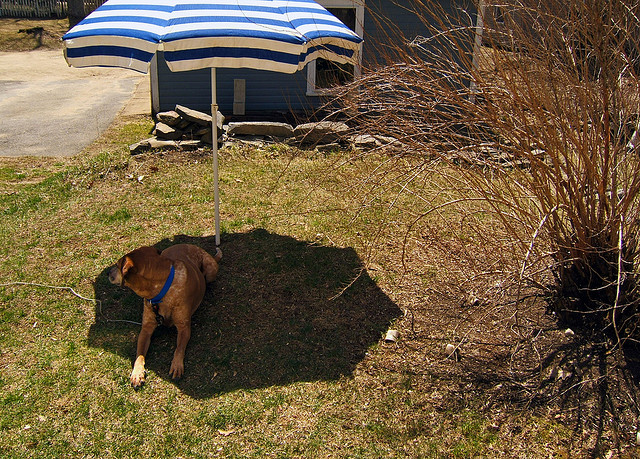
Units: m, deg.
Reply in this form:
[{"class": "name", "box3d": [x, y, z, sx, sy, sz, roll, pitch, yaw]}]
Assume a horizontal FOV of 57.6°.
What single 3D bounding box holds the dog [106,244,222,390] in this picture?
[{"class": "dog", "box3d": [-1.796, 0.735, 6.826, 0.731, 0.974, 2.173, -1, 37, 2]}]
